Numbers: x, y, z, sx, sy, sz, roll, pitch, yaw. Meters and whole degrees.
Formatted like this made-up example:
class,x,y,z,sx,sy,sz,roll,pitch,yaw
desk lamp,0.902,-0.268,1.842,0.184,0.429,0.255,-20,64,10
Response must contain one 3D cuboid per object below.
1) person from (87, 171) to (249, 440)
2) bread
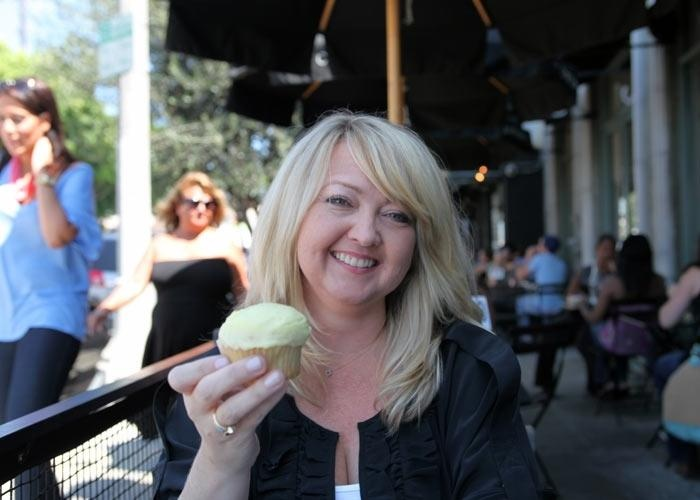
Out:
class,x,y,z,sx,sy,sz,roll,pitch,yaw
person,-1.302,0.600,4.628,1.199,2.376,0.938,8,25,-7
bread,-0.411,0.418,2.756,0.449,0.418,0.500,3,5,-5
